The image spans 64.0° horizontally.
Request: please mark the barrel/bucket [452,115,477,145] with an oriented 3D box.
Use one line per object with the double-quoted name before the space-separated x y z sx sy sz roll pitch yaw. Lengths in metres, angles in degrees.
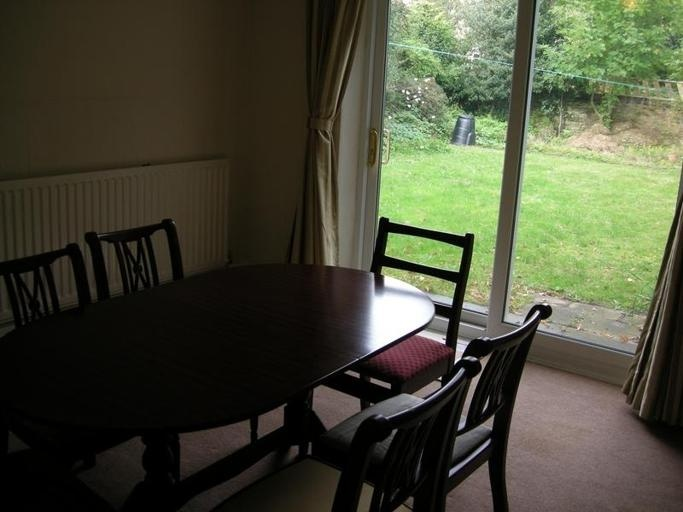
"barrel/bucket" 0.817 -0.828 3.604 0.152 0.184 0.171 6 12 22
